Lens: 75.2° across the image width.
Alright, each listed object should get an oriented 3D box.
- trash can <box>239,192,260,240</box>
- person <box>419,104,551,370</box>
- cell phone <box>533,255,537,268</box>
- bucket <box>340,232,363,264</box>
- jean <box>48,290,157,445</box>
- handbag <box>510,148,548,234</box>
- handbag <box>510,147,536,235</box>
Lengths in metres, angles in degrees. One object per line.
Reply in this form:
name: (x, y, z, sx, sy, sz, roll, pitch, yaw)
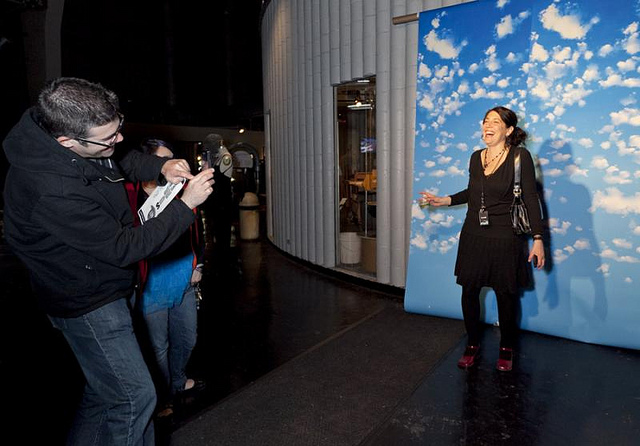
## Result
trash can: (-1.524, -0.133, 8.902, 0.558, 1.019, 0.354, 2, 13, 16)
person: (1.446, 0.138, 3.380, 0.623, 2.098, 0.460, 2, 13, 18)
cell phone: (1.679, 0.294, 3.263, 0.010, 0.092, 0.108, 2, 13, 18)
bucket: (0.523, 0.403, 6.218, 0.447, 0.482, 0.446, 4, -2, 0)
jean: (-1.227, 0.862, 2.389, 0.507, 0.834, 0.313, 5, 14, 28)
handbag: (1.531, -0.243, 3.229, 0.126, 0.654, 0.239, -1, 12, 3)
handbag: (1.541, -0.252, 3.217, 0.152, 0.632, 0.231, -3, 13, -4)
